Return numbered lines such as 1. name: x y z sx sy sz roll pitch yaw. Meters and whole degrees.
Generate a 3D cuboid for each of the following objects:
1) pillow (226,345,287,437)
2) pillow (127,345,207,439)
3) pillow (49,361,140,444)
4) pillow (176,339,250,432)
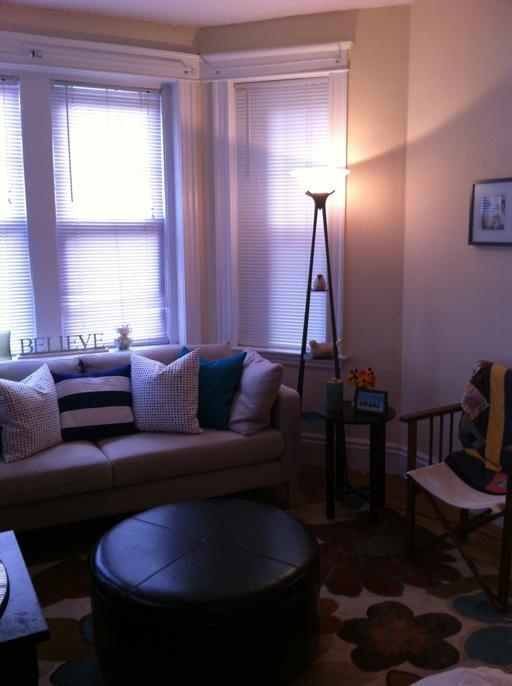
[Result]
1. pillow: -0.005 0.270 3.055 0.212 0.363 0.410 -7 7 -19
2. pillow: -0.468 0.270 2.952 0.372 0.441 0.166 -3 -14 13
3. pillow: -0.836 0.329 2.945 0.441 0.393 0.234 -1 5 -32
4. pillow: -0.234 0.240 3.008 0.378 0.428 0.148 -3 -27 32
